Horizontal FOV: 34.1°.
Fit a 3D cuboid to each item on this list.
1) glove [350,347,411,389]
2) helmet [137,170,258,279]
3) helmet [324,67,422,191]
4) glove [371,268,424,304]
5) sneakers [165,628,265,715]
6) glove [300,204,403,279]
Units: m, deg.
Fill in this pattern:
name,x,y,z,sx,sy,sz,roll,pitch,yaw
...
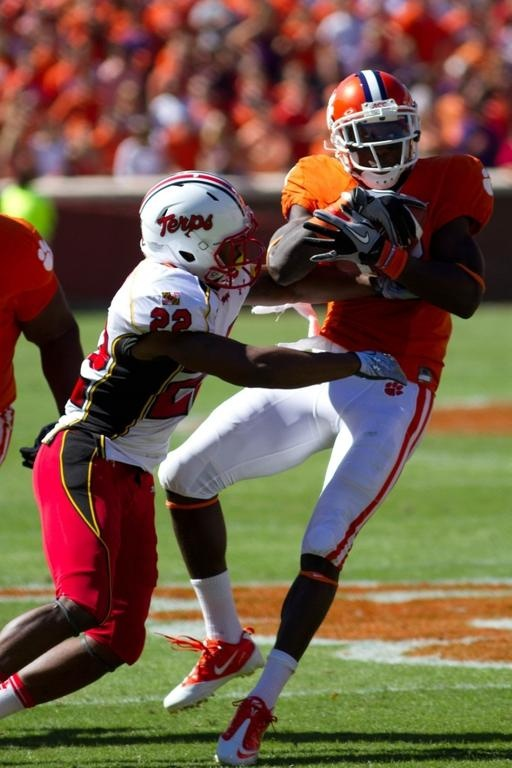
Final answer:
name,x,y,z,sx,sy,sz,roll,pitch,yaw
glove,0.277,-0.032,1.739,0.147,0.051,0.044,16,29,-35
helmet,-0.075,-0.324,1.804,0.300,0.201,0.207,13,24,-10
helmet,0.277,-0.598,1.953,0.274,0.275,0.305,-7,28,-11
glove,0.324,-0.227,1.931,0.100,0.038,0.054,27,39,25
sneakers,-0.103,0.714,2.083,0.298,0.112,0.154,-22,30,-30
glove,0.252,-0.315,1.869,0.232,0.152,0.099,28,-6,-24
